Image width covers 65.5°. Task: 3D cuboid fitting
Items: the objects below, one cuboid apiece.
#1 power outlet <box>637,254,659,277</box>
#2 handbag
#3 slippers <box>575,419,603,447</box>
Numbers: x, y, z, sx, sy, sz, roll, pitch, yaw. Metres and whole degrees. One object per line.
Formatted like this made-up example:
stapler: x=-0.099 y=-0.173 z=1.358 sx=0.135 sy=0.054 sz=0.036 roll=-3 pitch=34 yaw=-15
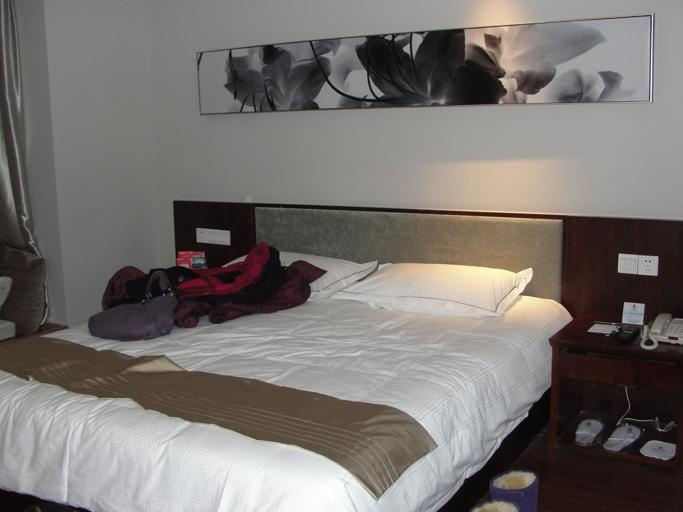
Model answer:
power outlet: x=1.781 y=0.054 z=3.089 sx=0.109 sy=0.125 sz=0.013 roll=5 pitch=6 yaw=33
handbag: x=-1.165 y=0.273 z=3.056 sx=0.433 sy=0.222 sz=0.614 roll=10 pitch=20 yaw=4
slippers: x=1.390 y=0.989 z=2.999 sx=0.089 sy=0.045 sz=0.180 roll=-2 pitch=11 yaw=27
